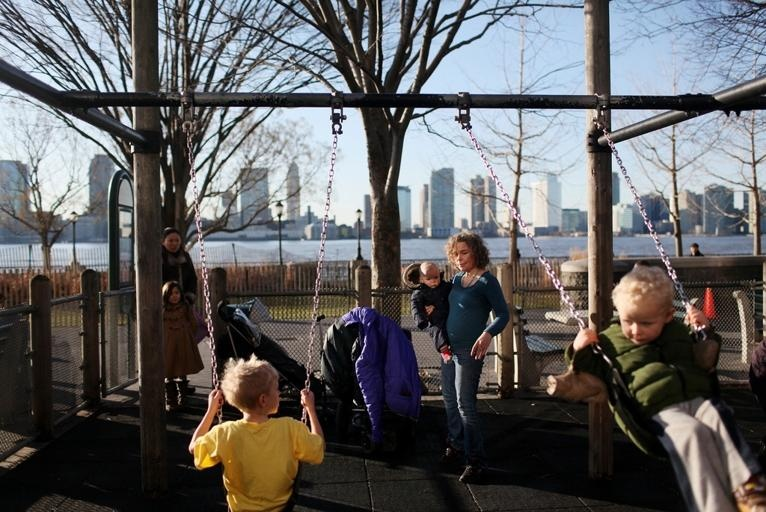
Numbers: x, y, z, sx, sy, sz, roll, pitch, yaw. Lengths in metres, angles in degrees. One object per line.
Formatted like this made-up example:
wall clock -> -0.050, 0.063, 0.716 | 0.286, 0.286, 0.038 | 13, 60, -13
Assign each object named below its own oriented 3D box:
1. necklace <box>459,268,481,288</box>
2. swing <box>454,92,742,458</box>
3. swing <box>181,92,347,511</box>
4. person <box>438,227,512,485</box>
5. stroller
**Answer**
necklace -> 1.117, 0.282, 11.800 | 0.178, 0.277, 0.096 | -3, -18, 7
swing -> 2.323, 0.626, 11.026 | 2.879, 5.195, 2.778 | 0, -1, -15
swing -> -1.555, 0.058, 12.022 | 2.419, 5.798, 2.860 | -1, -3, -7
person -> 1.201, 1.257, 12.038 | 0.944, 3.081, 1.038 | 0, 0, 27
stroller -> -1.610, 1.388, 13.529 | 1.737, 1.466, 1.170 | 1, 3, -11
